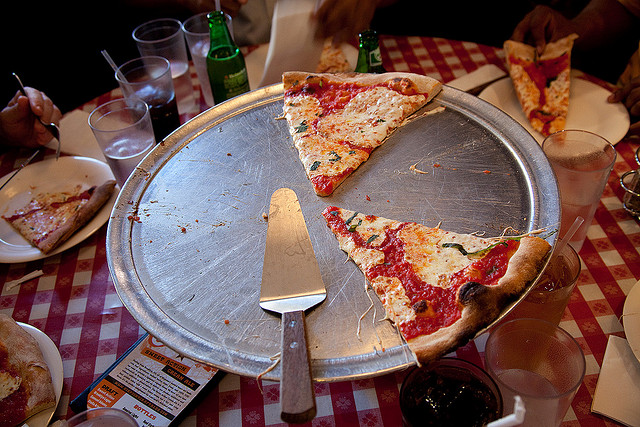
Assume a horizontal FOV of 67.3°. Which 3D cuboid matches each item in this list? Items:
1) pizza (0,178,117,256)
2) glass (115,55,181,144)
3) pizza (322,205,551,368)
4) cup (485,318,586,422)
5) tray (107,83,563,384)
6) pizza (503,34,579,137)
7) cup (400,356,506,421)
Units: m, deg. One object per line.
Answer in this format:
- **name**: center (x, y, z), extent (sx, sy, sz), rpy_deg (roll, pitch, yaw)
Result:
- **pizza**: center (-0.737, 0.019, 1.416), extent (0.241, 0.034, 0.254), rpy_deg (-39, 46, -24)
- **glass**: center (-0.553, -0.363, 1.591), extent (0.171, 0.248, 0.157), rpy_deg (-27, 33, -28)
- **pizza**: center (0.269, 0.073, 1.104), extent (0.389, 0.147, 0.428), rpy_deg (-23, 70, -14)
- **cup**: center (0.441, 0.330, 0.999), extent (0.148, 0.163, 0.162), rpy_deg (-4, 45, 4)
- **tray**: center (0.023, -0.039, 1.188), extent (1.042, 0.247, 0.908), rpy_deg (13, 65, 1)
- **pizza**: center (0.732, -0.417, 1.574), extent (0.257, 0.086, 0.394), rpy_deg (1, 54, 14)
- **cup**: center (0.272, 0.366, 0.985), extent (0.224, 0.081, 0.133), rpy_deg (-7, 67, -8)
